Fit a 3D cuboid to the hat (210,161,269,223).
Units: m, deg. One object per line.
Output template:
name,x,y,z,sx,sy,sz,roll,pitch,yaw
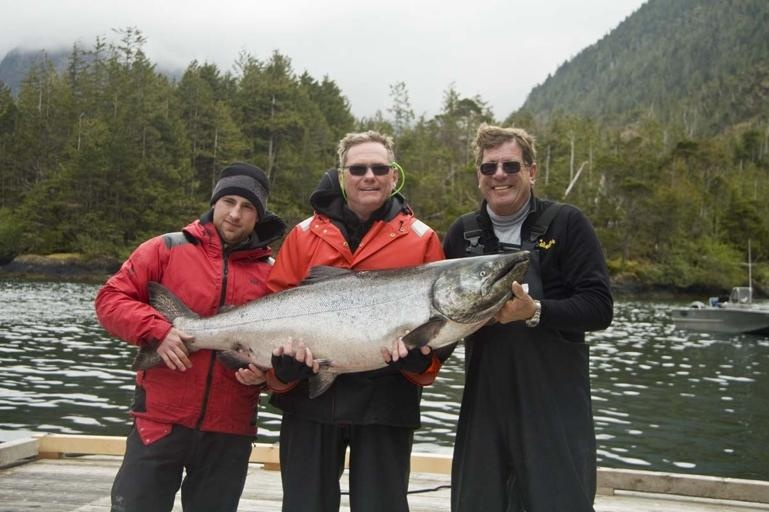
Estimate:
hat,-2.707,-1.221,13.246,1.008,0.937,1.053,25,-26,-23
